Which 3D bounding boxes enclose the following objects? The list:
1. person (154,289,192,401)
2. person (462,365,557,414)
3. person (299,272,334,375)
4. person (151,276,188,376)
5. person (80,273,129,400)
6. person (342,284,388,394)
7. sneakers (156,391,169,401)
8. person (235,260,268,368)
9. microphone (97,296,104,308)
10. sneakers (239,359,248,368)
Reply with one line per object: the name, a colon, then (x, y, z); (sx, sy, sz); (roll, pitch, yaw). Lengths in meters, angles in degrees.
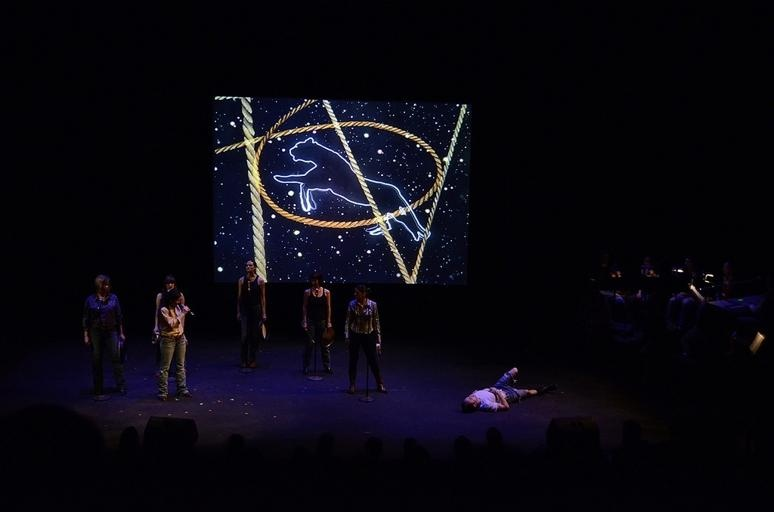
person: (-3.544, 1.343, 11.338); (0.509, 1.757, 1.236); (0, 7, -18)
person: (1.756, 2.195, 10.848); (1.140, 0.281, 0.709); (-14, 23, -24)
person: (-1.233, 1.165, 12.215); (0.532, 1.776, 1.388); (1, 6, -5)
person: (-3.621, 1.361, 11.687); (0.664, 2.188, 0.629); (-1, 25, -18)
person: (-4.485, 1.269, 10.875); (0.589, 1.934, 0.437); (-1, 7, -22)
person: (-0.331, 1.359, 11.238); (0.650, 1.794, 0.486); (2, 6, 4)
sneakers: (-3.570, 2.247, 10.902); (0.153, 0.140, 0.121); (-6, -8, 39)
person: (-2.427, 1.047, 12.235); (0.466, 1.901, 0.819); (0, 6, -13)
microphone: (-4.478, 0.711, 10.659); (0.109, 0.142, 0.147); (3, -18, -15)
sneakers: (-2.596, 1.922, 12.347); (0.157, 0.179, 0.158); (1, 5, 10)
